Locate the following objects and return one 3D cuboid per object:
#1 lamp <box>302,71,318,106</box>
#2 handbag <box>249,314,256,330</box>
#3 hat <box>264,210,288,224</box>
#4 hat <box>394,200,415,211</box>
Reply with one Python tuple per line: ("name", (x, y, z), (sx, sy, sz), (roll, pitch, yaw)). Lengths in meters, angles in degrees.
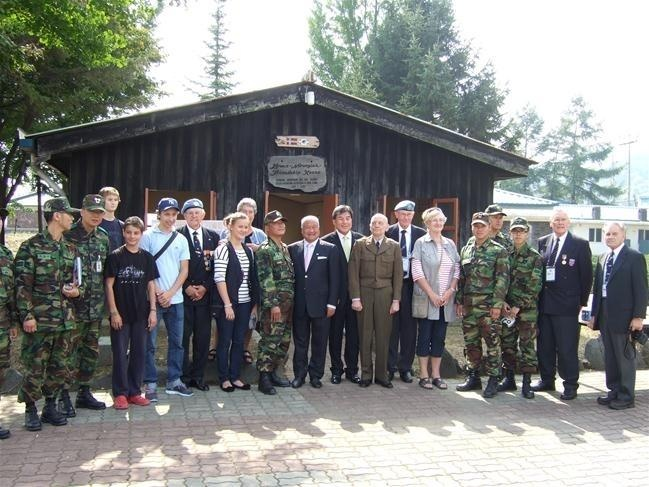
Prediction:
("lamp", (-0.276, -3.012, 10.957), (0.237, 0.656, 0.525), (1, 8, -1))
("handbag", (-0.977, 1.061, 7.708), (0.128, 0.182, 0.066), (4, 1, 9))
("hat", (-0.698, -0.395, 7.708), (0.318, 0.153, 0.224), (-17, -16, 40))
("hat", (1.116, -0.542, 8.197), (0.268, 0.094, 0.218), (-1, 0, 45))
